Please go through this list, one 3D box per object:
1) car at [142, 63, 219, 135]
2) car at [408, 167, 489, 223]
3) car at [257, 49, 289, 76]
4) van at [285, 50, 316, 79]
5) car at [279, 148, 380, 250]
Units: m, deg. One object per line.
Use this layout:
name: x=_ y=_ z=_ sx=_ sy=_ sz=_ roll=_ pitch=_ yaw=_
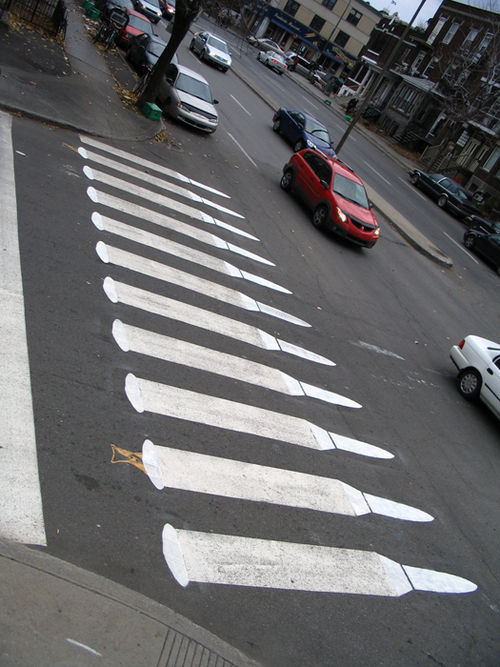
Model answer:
car: x=-2.158 y=-8.096 z=20.669 sx=1.739 sy=1.546 sz=3.667 roll=12 pitch=26 yaw=-32
car: x=10.526 y=-7.698 z=33.087 sx=2.277 sy=1.349 sz=4.697 roll=-3 pitch=47 yaw=-40
car: x=1.906 y=-23.143 z=51.725 sx=2.527 sy=1.167 sz=2.641 roll=27 pitch=19 yaw=-13
van: x=5.075 y=-27.761 z=63.033 sx=3.339 sy=1.667 sz=7.041 roll=29 pitch=18 yaw=-8
car: x=2.465 y=-3.958 z=17.921 sx=1.502 sy=1.872 sz=3.360 roll=16 pitch=24 yaw=-40
